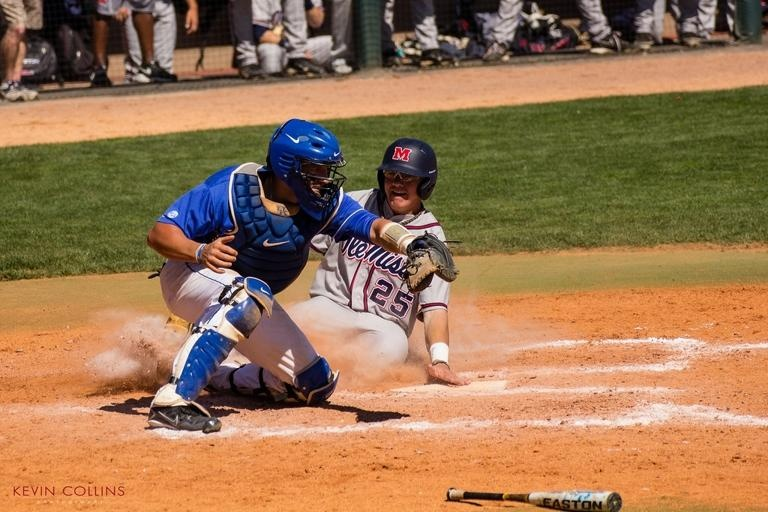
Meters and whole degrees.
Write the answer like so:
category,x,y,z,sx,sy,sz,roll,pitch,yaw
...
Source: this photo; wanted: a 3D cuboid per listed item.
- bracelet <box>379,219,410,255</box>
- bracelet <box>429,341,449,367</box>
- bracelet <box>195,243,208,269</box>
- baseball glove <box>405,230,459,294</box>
category,x,y,z,sx,sy,sz,roll,pitch,yaw
bracelet,0.115,-0.209,16.656,0.380,0.164,0.247,22,39,27
bracelet,0.607,1.094,17.415,0.225,0.238,0.221,2,-11,-13
bracelet,-1.987,-0.024,16.476,0.076,0.187,0.165,13,31,12
baseball glove,0.479,-0.048,16.730,0.563,0.358,0.781,20,16,-3
